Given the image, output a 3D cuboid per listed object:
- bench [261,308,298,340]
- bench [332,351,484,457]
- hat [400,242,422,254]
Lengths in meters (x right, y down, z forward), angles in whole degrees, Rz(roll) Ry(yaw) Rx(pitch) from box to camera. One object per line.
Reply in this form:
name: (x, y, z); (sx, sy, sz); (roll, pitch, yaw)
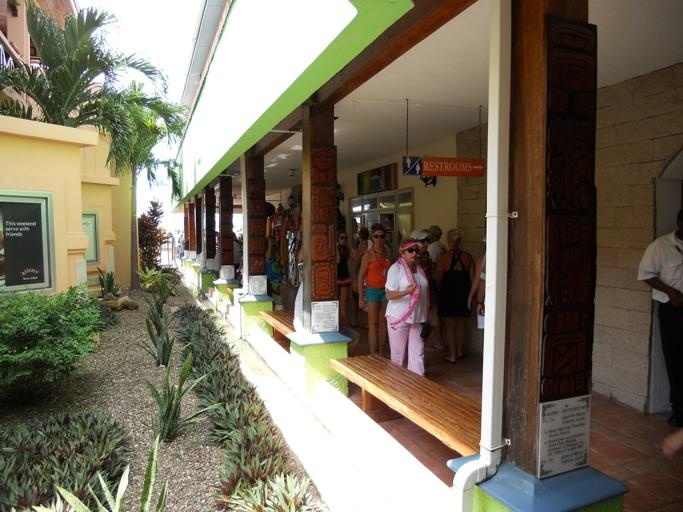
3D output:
bench: (-0.856, 0.931, 6.644); (0.332, 0.195, 0.787); (-4, 14, -24)
bench: (0.678, 1.221, 4.128); (0.557, 0.256, 1.988); (-5, 3, -27)
hat: (0.742, -0.107, 5.137); (0.206, 0.120, 0.199); (-4, 2, 0)
